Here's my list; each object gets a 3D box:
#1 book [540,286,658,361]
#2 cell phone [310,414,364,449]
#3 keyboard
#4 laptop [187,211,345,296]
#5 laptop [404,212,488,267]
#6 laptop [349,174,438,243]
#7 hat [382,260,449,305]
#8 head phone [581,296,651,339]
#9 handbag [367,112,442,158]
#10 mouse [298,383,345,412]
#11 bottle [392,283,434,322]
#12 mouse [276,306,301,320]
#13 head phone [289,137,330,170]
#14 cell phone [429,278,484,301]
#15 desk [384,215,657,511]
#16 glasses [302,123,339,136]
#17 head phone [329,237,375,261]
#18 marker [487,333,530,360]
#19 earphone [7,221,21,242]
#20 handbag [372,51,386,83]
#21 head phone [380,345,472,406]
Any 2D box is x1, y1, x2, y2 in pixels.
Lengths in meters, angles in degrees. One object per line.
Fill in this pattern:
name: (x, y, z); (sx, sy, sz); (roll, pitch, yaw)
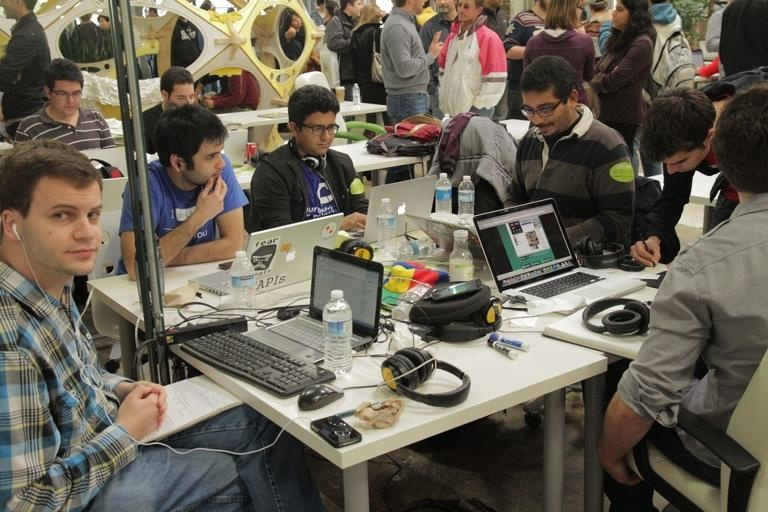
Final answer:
book: (0.807, 0.286, 2.324); (0.342, 0.040, 0.373); (7, 36, 45)
cell phone: (-0.155, 0.549, 1.897); (0.109, 0.043, 0.156); (-13, 20, -31)
keyboard: (-0.475, 0.392, 2.236); (0.481, 0.064, 0.185); (16, 37, 41)
laptop: (-0.531, -0.144, 2.785); (0.426, 0.330, 0.558); (18, 26, 35)
laptop: (0.314, -0.113, 3.014); (0.281, 0.138, 0.395); (-10, 21, -23)
laptop: (0.046, -0.372, 3.284); (0.353, 0.306, 0.505); (16, 23, 37)
hat: (0.118, 0.097, 2.703); (0.215, 0.070, 0.214); (-15, 23, -21)
head phone: (0.926, 0.235, 2.420); (0.237, 0.081, 0.238); (-18, 17, 18)
handbag: (0.241, -1.066, 5.047); (0.415, 0.191, 0.498); (9, 17, 31)
mouse: (-0.220, 0.476, 2.024); (0.073, 0.046, 0.134); (19, 28, 41)
bottle: (0.120, 0.185, 2.566); (0.186, 0.061, 0.108); (-33, 16, -33)
mouse: (-0.423, 0.233, 2.585); (0.078, 0.032, 0.052); (-17, 24, -42)
head phone: (-0.449, -0.579, 3.543); (0.173, 0.078, 0.199); (-29, 64, -23)
cell phone: (0.291, 0.154, 2.440); (0.166, 0.034, 0.099); (-12, 24, 10)
desk: (0.481, 0.558, 2.303); (0.708, 0.646, 0.705); (-17, 28, -31)
glasses: (-0.351, -0.735, 3.435); (0.222, 0.062, 0.099); (-17, 22, -40)
head phone: (-0.140, -0.027, 2.855); (0.132, 0.061, 0.109); (5, 12, -31)
marker: (0.477, 0.340, 2.311); (0.069, 0.043, 0.121); (-17, 24, -32)
earphone: (-1.169, -0.082, 1.912); (0.041, 0.058, 0.023); (-11, 17, 9)
handbag: (-0.091, -2.294, 7.244); (0.117, 0.367, 0.252); (-4, 17, -3)
head phone: (0.144, 0.422, 2.088); (0.298, 0.122, 0.247); (17, 25, 37)
